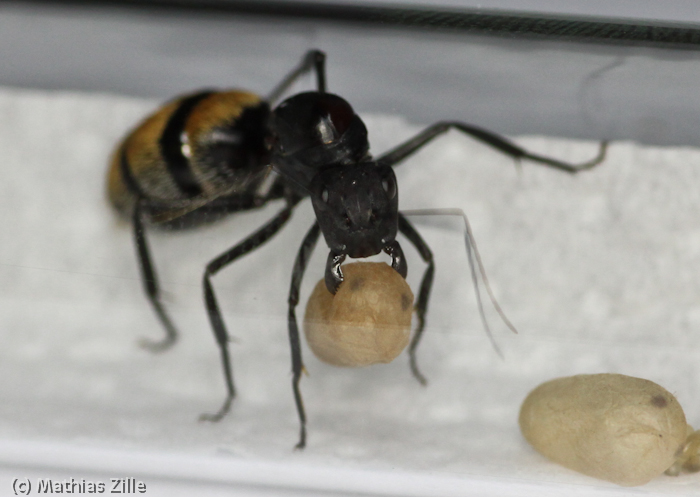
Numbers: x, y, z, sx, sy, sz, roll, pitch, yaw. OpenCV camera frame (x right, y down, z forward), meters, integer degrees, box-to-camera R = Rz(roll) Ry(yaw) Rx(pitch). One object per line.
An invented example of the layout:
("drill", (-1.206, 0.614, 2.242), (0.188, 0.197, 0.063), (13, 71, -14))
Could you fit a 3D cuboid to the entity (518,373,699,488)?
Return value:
("entity", (0.578, 0.402, 1.832), (0.397, 0.206, 0.233), (6, 36, 41))
